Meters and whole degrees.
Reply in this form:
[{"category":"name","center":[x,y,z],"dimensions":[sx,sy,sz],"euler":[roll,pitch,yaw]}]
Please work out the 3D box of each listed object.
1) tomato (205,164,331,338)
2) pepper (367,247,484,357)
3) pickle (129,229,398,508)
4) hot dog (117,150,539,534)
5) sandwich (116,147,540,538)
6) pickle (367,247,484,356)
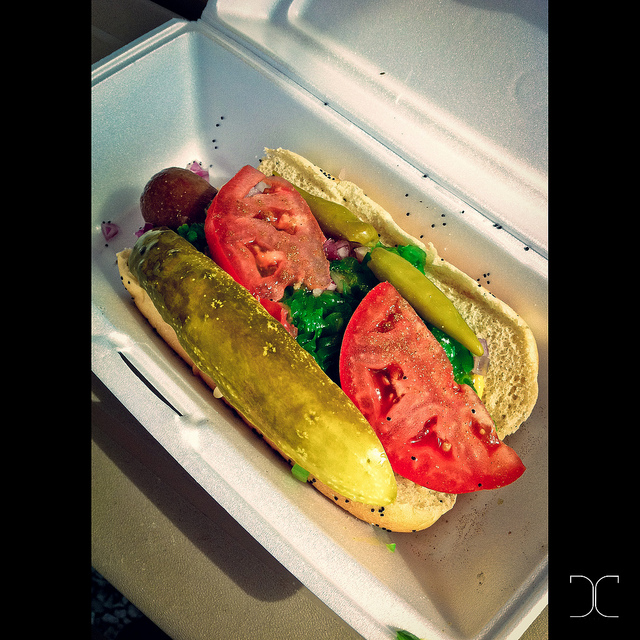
[{"category":"tomato","center":[-0.107,-0.166,1.299],"dimensions":[0.260,0.304,0.254],"euler":[-16,34,-21]},{"category":"pepper","center":[0.228,-0.052,1.313],"dimensions":[0.202,0.205,0.208],"euler":[-15,28,-30]},{"category":"pickle","center":[-0.083,0.076,1.213],"dimensions":[0.444,0.432,0.478],"euler":[-12,33,-10]},{"category":"hot dog","center":[-0.072,0.098,1.392],"dimensions":[0.945,0.282,0.568],"euler":[49,53,2]},{"category":"sandwich","center":[-0.077,0.103,1.388],"dimensions":[0.943,0.285,0.559],"euler":[46,55,4]},{"category":"pickle","center":[0.199,-0.030,1.276],"dimensions":[0.221,0.066,0.067],"euler":[46,23,5]}]
